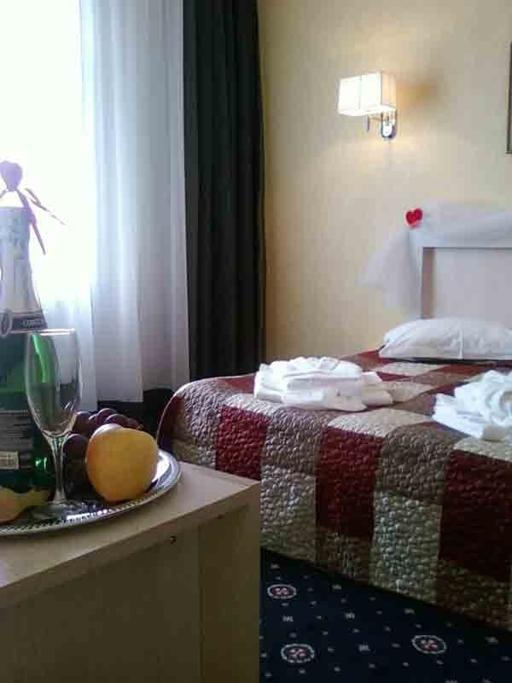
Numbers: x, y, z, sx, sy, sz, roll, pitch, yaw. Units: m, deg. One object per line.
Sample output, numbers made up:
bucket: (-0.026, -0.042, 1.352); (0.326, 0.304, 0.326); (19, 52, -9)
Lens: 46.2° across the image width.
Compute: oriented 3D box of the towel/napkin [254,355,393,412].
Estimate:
towel/napkin: (0.180, 0.087, 1.679); (0.369, 0.144, 0.322); (0, 5, 7)

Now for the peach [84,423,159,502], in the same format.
peach: (-0.147, 0.151, 0.743); (0.080, 0.090, 0.083); (-1, -21, 8)
